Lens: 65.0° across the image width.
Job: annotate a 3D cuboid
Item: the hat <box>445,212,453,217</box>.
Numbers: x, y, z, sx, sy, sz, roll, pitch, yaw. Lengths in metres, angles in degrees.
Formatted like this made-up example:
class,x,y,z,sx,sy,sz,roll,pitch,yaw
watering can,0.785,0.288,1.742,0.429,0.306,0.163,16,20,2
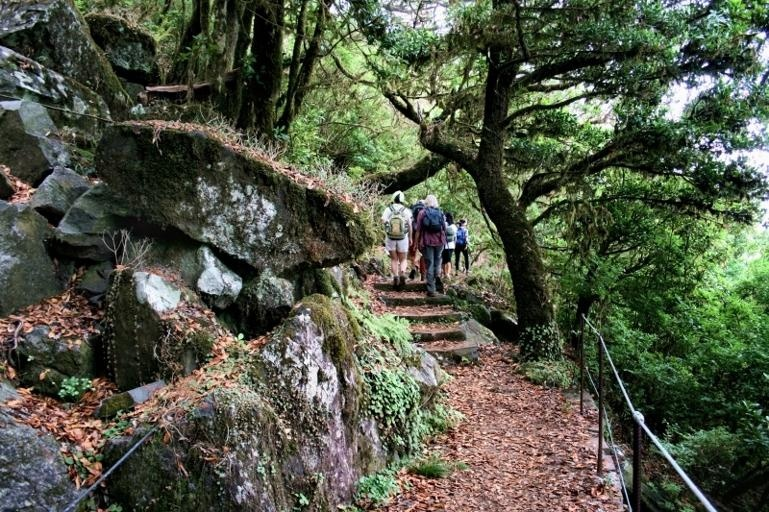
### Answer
class,x,y,z,sx,sy,sz,roll,pitch,yaw
hat,1.851,-1.178,17.332,0.169,0.185,0.117,9,2,-20

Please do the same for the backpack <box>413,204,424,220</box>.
class,x,y,z,sx,sy,sz,roll,pitch,yaw
backpack,0.878,-1.122,15.180,0.233,0.464,0.276,16,25,28

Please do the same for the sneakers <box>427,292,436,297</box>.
class,x,y,z,sx,sy,sz,roll,pitch,yaw
sneakers,1.159,0.965,14.968,0.138,0.143,0.105,-5,-16,31

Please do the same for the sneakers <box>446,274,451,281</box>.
class,x,y,z,sx,sy,sz,roll,pitch,yaw
sneakers,2.060,0.682,19.323,0.156,0.153,0.380,2,8,10

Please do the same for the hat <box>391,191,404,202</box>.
class,x,y,z,sx,sy,sz,roll,pitch,yaw
hat,0.369,-1.438,14.740,0.255,0.362,0.350,3,17,-3

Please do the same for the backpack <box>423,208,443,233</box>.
class,x,y,z,sx,sy,sz,roll,pitch,yaw
backpack,1.142,-0.907,14.633,0.424,0.595,0.563,15,12,2

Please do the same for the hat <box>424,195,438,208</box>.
class,x,y,z,sx,sy,sz,roll,pitch,yaw
hat,1.170,-1.352,14.725,0.290,0.369,0.354,0,-4,-2
